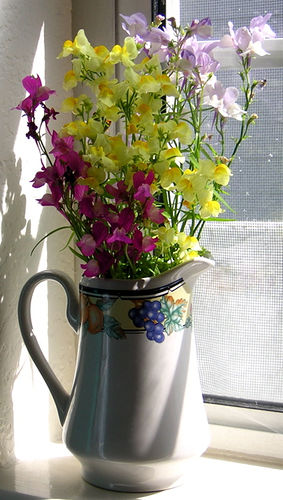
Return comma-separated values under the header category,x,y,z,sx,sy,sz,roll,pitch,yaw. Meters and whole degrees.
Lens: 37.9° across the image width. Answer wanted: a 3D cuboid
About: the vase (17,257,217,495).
category,x,y,z,sx,sy,sz,roll,pitch,yaw
vase,-0.018,0.144,0.585,0.303,0.323,0.212,-1,0,0
